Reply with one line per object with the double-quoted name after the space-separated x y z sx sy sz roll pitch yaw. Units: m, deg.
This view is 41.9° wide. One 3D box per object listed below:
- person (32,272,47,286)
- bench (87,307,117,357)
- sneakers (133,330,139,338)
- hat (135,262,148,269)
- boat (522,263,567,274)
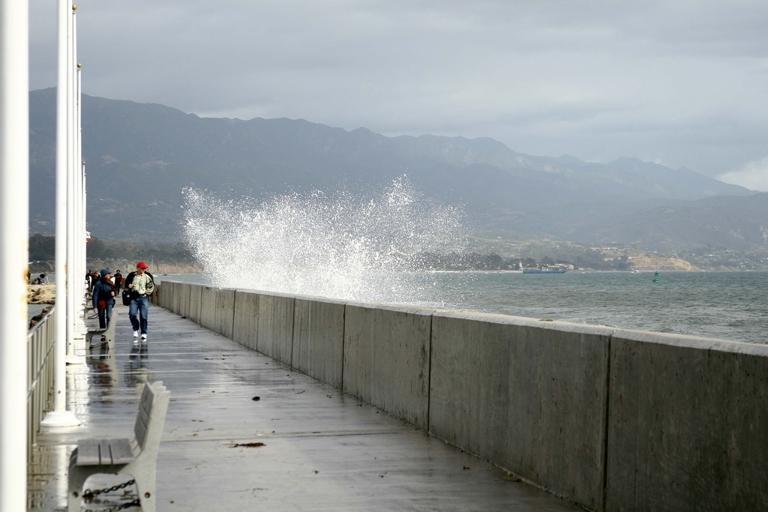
-23.155 1.466 67.694 0.596 0.680 1.669 7 11 -10 "person"
-6.835 1.833 24.463 0.793 1.085 0.747 3 -5 -10 "bench"
-6.094 1.908 24.830 0.175 0.221 0.329 1 -11 -12 "sneakers"
-5.390 0.190 22.394 0.217 0.153 0.344 13 3 2 "hat"
37.979 3.532 237.088 10.624 2.366 2.081 -1 7 -1 "boat"
